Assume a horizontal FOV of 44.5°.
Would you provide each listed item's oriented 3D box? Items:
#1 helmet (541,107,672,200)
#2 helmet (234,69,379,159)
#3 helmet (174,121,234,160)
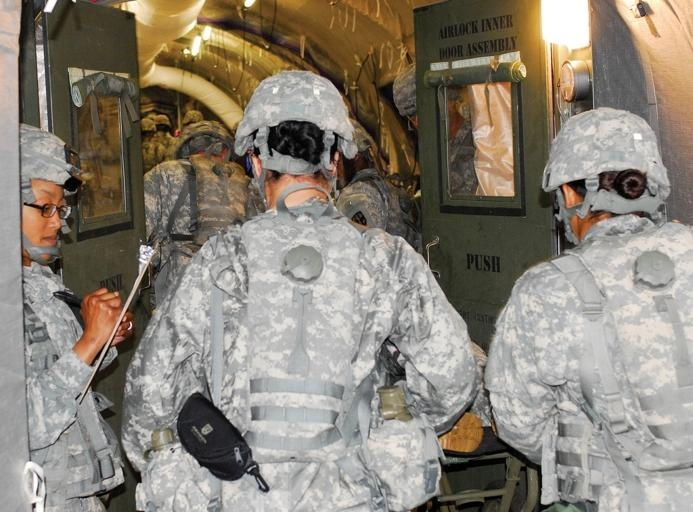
[{"bbox_3d":[1.054,-0.437,3.415,0.358,0.351,0.406,0,0,3],"label":"helmet"},{"bbox_3d":[-0.186,-0.564,3.465,0.333,0.258,0.356,1,-4,-2],"label":"helmet"},{"bbox_3d":[-1.288,-1.086,7.663,0.417,0.402,0.429,-20,2,15],"label":"helmet"}]
